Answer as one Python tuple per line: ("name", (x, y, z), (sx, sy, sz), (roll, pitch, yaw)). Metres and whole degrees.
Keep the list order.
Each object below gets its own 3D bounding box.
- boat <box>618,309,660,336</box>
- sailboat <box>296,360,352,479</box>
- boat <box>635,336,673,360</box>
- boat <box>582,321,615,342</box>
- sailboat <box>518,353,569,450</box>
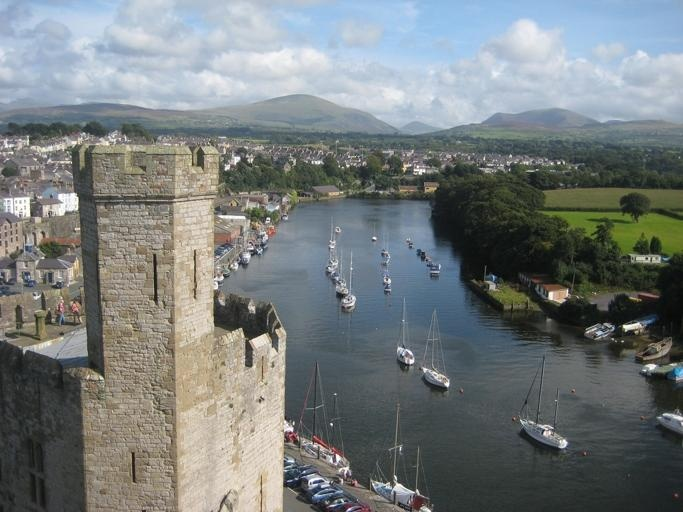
("boat", (21.489, 5.099, 50.830), (3.515, 1.273, 1.250), (-18, 19, -31))
("sailboat", (-1.012, 7.604, 32.912), (3.372, 5.159, 1.163), (-16, -24, 39))
("boat", (20.510, 6.020, 45.979), (3.480, 1.091, 1.158), (-20, 21, -38))
("boat", (18.337, 5.291, 49.944), (1.538, 0.664, 2.759), (15, 19, 42))
("sailboat", (10.022, 7.070, 34.343), (1.071, 4.320, 2.909), (-11, 22, -37))
